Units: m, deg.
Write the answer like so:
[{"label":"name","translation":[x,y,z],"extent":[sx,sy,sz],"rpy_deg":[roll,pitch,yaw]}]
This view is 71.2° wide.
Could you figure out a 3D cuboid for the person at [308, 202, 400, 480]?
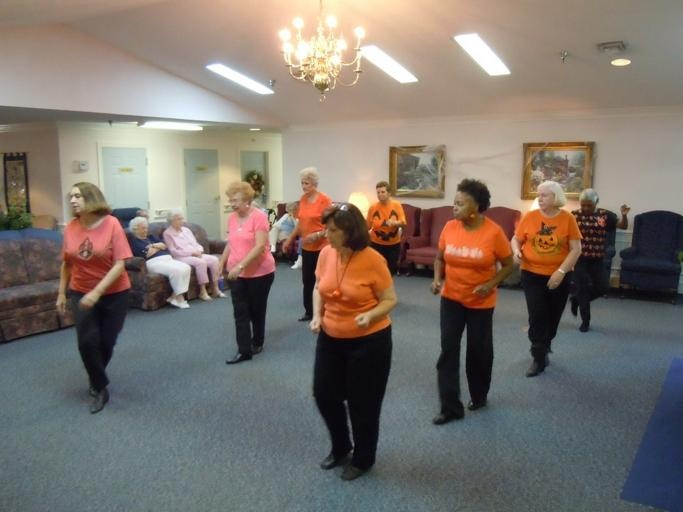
[{"label":"person","translation":[0.060,0.584,3.023],"extent":[0.540,1.811,0.355],"rpy_deg":[1,12,8]}]

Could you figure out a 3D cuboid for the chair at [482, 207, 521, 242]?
[{"label":"chair","translation":[2.878,-0.509,8.418],"extent":[0.628,0.916,0.709],"rpy_deg":[0,-1,26]}]

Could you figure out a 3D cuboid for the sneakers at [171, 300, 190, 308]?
[{"label":"sneakers","translation":[-2.292,0.652,6.753],"extent":[0.244,0.103,0.123],"rpy_deg":[12,5,5]}]

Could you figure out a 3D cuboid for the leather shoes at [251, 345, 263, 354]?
[{"label":"leather shoes","translation":[-0.900,0.991,5.064],"extent":[0.043,0.054,0.133],"rpy_deg":[-4,-14,20]}]

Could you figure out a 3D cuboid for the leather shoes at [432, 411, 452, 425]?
[{"label":"leather shoes","translation":[0.797,1.270,3.807],"extent":[0.119,0.050,0.091],"rpy_deg":[-12,10,-26]}]

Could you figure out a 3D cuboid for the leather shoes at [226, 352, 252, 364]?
[{"label":"leather shoes","translation":[-1.045,1.029,4.907],"extent":[0.283,0.118,0.096],"rpy_deg":[0,4,-24]}]

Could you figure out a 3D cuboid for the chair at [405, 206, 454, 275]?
[{"label":"chair","translation":[1.480,-0.379,8.667],"extent":[0.799,1.192,0.776],"rpy_deg":[-14,-2,20]}]

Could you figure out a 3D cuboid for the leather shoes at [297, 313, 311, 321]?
[{"label":"leather shoes","translation":[-0.485,0.773,6.123],"extent":[0.187,0.084,0.069],"rpy_deg":[2,0,-12]}]

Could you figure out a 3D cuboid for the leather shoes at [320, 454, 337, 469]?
[{"label":"leather shoes","translation":[-0.091,1.408,3.282],"extent":[0.068,0.077,0.122],"rpy_deg":[-1,-6,11]}]

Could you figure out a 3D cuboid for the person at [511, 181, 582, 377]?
[{"label":"person","translation":[1.870,0.246,4.416],"extent":[0.411,1.846,0.530],"rpy_deg":[-5,13,-22]}]

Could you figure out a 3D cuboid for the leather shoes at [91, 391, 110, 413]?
[{"label":"leather shoes","translation":[-2.067,1.233,4.064],"extent":[0.080,0.101,0.245],"rpy_deg":[-1,1,-11]}]

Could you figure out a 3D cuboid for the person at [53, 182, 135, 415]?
[{"label":"person","translation":[-2.099,0.325,4.083],"extent":[0.526,1.889,0.617],"rpy_deg":[-9,14,-34]}]

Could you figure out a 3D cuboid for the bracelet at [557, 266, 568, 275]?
[{"label":"bracelet","translation":[1.919,0.122,4.150],"extent":[0.066,0.019,0.066],"rpy_deg":[16,21,33]}]

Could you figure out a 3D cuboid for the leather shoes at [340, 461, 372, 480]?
[{"label":"leather shoes","translation":[0.070,1.405,3.177],"extent":[0.164,0.051,0.098],"rpy_deg":[-1,2,-39]}]

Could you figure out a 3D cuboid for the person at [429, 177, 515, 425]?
[{"label":"person","translation":[1.021,0.353,3.781],"extent":[0.591,1.899,0.451],"rpy_deg":[1,12,5]}]
